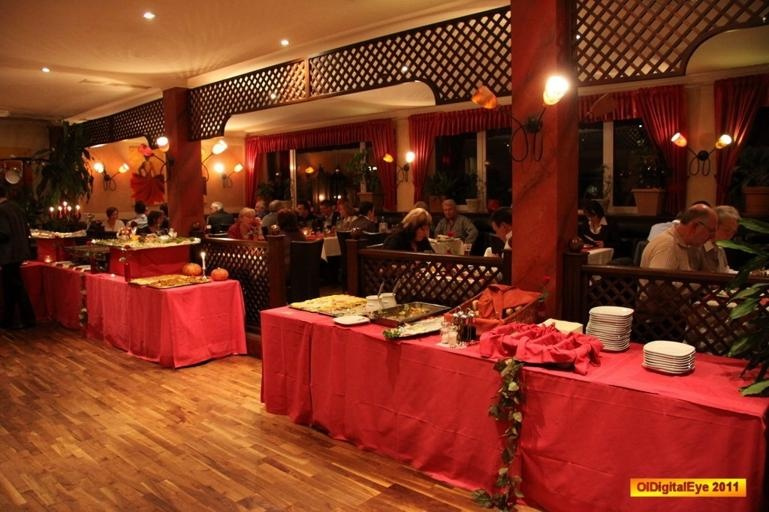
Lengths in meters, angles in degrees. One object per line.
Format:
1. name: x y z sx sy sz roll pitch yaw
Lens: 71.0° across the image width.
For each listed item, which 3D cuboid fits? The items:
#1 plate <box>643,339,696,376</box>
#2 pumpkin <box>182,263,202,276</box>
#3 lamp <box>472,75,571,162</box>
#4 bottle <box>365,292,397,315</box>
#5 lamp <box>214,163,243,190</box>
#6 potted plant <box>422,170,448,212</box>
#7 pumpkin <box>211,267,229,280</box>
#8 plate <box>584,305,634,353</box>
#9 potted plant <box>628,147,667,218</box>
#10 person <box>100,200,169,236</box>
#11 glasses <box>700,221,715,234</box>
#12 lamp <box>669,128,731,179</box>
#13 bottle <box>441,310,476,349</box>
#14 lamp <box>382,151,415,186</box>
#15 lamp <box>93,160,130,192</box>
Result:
1. plate: 1.922 0.677 3.616 0.299 0.149 0.252 8 16 33
2. pumpkin: -2.286 0.131 6.394 0.162 0.155 0.165 5 10 27
3. lamp: 1.182 -1.164 4.569 0.710 0.708 0.357 6 15 28
4. bottle: -0.024 0.400 4.565 0.212 0.159 0.151 0 3 -3
5. lamp: -4.066 -2.117 14.053 0.280 0.653 0.851 5 15 26
6. potted plant: 1.110 -1.279 10.897 0.675 0.793 0.651 1 0 -39
7. pumpkin: -1.929 0.215 6.288 0.160 0.143 0.163 0 7 -23
8. plate: 1.641 0.502 3.936 0.298 0.251 0.334 4 8 36
9. potted plant: 4.379 -1.240 8.811 0.425 1.142 0.480 -10 11 -38
10. person: -4.605 -0.720 9.837 0.948 0.617 0.976 2 8 19
11. glasses: 2.591 -0.228 4.291 0.096 0.030 0.101 -11 45 -37
12. lamp: 4.932 -1.608 8.314 0.745 0.569 0.235 8 6 42
13. bottle: 0.554 0.530 4.007 0.254 0.266 0.234 1 3 33
14. lamp: 0.307 -1.858 11.166 0.270 0.673 0.810 -13 18 -42
15. lamp: -6.529 -1.894 12.833 0.825 0.673 0.434 -6 14 -20
